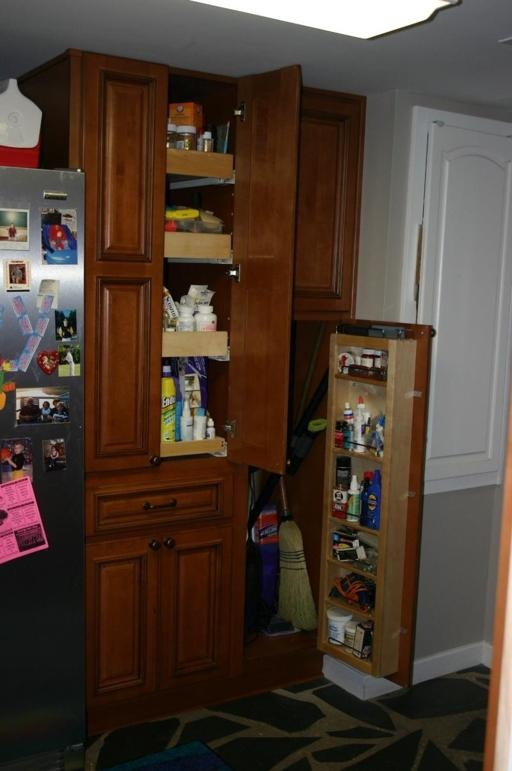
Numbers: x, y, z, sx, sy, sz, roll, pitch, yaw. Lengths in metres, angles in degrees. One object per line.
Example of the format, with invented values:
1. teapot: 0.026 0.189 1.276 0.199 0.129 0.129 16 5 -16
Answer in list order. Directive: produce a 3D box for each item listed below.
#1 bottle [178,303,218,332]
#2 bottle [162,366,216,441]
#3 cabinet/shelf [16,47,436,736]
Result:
1. bottle: -0.226 -0.267 2.457 0.149 0.147 0.084 2 3 -6
2. bottle: -0.277 0.075 2.532 0.097 0.289 0.284 -1 1 33
3. cabinet/shelf: -0.069 0.046 2.414 1.341 2.456 0.916 1 2 -36
